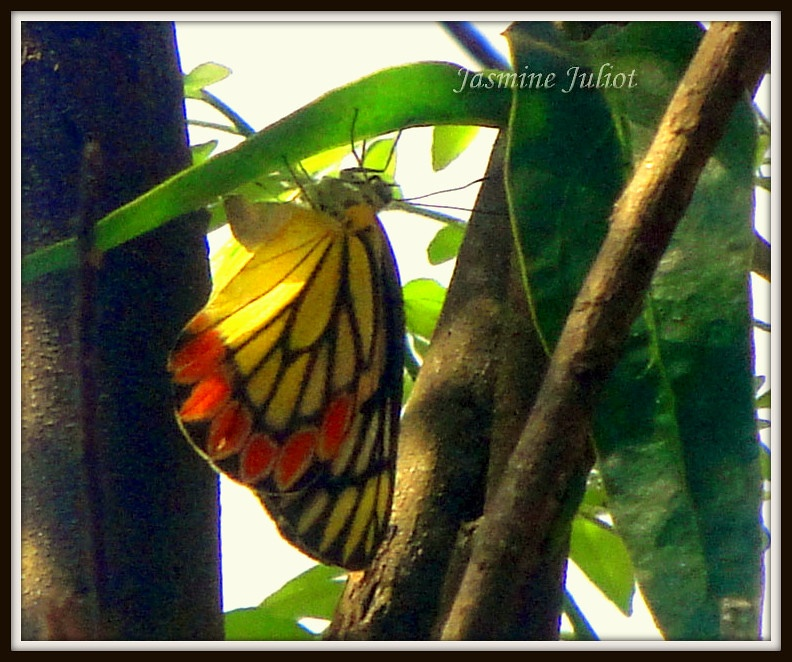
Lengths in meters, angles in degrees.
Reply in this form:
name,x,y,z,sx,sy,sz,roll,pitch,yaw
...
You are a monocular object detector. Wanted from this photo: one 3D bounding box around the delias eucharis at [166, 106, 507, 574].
name,x,y,z,sx,sy,sz,roll,pitch,yaw
delias eucharis,-0.075,0.009,1.755,0.177,0.444,0.327,-4,-33,20
